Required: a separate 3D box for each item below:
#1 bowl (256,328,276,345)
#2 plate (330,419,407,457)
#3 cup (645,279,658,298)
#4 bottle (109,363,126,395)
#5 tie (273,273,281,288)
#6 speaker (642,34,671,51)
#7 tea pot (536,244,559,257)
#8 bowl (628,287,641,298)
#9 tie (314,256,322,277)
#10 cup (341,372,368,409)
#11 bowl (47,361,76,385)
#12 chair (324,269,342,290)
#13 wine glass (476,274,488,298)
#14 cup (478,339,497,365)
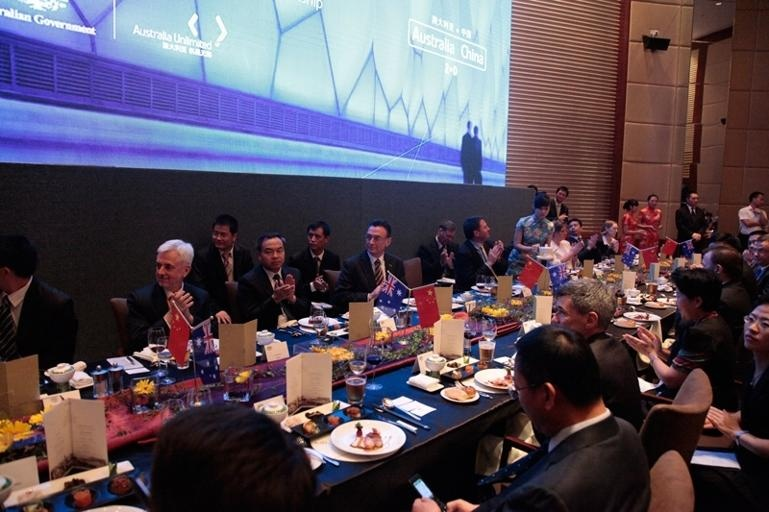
[{"bbox_3d":[-0.806,0.550,3.627,0.103,0.078,0.114,0,7,7],"label":"bowl"},{"bbox_3d":[-0.085,0.951,2.737,0.212,0.037,0.212,7,17,18],"label":"plate"},{"bbox_3d":[2.787,0.345,5.538,0.166,0.184,0.164,-1,1,0],"label":"cup"},{"bbox_3d":[-1.563,0.726,3.100,0.093,0.178,0.097,2,13,0],"label":"bottle"},{"bbox_3d":[-0.907,0.205,4.545,0.068,0.044,0.118,6,22,-14],"label":"tie"},{"bbox_3d":[4.729,-3.701,9.111,0.561,0.276,0.153,-5,3,-11],"label":"speaker"},{"bbox_3d":[1.868,-0.067,6.029,0.235,0.145,0.237,-1,8,0],"label":"tea pot"},{"bbox_3d":[2.525,0.366,5.343,0.111,0.072,0.097,-1,1,25],"label":"bowl"},{"bbox_3d":[-0.711,0.102,5.731,0.047,0.196,0.138,-3,17,9],"label":"tie"},{"bbox_3d":[-0.155,0.750,2.975,0.151,0.172,0.152,0,9,0],"label":"cup"},{"bbox_3d":[-1.918,0.693,3.135,0.128,0.101,0.118,4,1,0],"label":"bowl"},{"bbox_3d":[-0.523,0.243,5.409,0.173,0.213,0.175,3,4,6],"label":"chair"},{"bbox_3d":[1.046,0.301,5.642,0.165,0.281,0.174,0,1,-2],"label":"wine glass"},{"bbox_3d":[0.670,0.623,3.480,0.139,0.153,0.132,0,5,0],"label":"cup"}]
